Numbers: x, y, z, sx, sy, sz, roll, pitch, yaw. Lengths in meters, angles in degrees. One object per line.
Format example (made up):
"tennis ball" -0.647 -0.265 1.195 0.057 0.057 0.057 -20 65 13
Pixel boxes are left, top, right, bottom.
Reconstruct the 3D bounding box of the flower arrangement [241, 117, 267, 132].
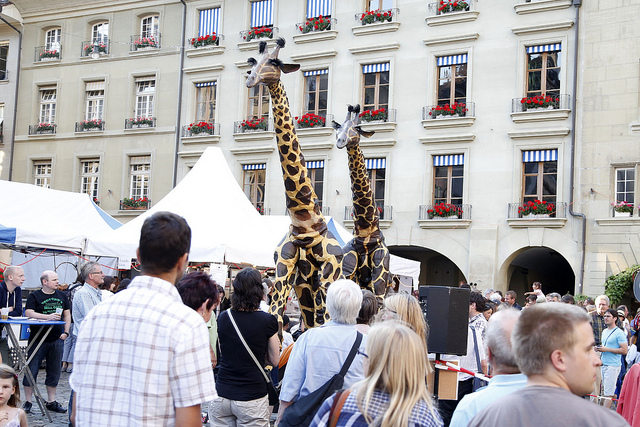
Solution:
"flower arrangement" -2.457 -3.453 39.874 0.787 0.346 0.616 0 22 5

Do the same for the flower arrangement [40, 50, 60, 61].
"flower arrangement" -11.557 -6.744 43.520 0.752 0.428 0.224 -3 -5 19

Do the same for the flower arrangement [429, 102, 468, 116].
"flower arrangement" 4.744 -3.766 36.984 0.934 0.260 0.580 6 -9 -39

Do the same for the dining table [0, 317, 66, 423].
"dining table" -7.129 3.784 25.234 1.397 2.449 3.403 3 -8 -14

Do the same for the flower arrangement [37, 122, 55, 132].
"flower arrangement" -11.576 -3.674 43.103 0.478 0.180 0.399 -1 -2 -39

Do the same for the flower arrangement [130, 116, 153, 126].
"flower arrangement" -7.240 -3.789 41.536 0.998 0.328 0.134 -2 -9 23

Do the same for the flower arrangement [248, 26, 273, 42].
"flower arrangement" -2.281 -7.060 40.210 1.138 0.743 0.333 4 6 8

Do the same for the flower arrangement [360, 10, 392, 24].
"flower arrangement" 2.154 -7.370 38.195 0.632 0.233 0.616 2 -4 -35

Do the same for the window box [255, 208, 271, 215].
"window box" -2.109 -0.102 39.610 0.312 0.180 0.316 -3 -5 39

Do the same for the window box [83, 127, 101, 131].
"window box" -9.484 -3.511 42.375 0.776 0.159 0.134 -3 -9 28

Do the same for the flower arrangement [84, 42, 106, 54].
"flower arrangement" -9.403 -6.959 42.777 0.724 0.314 0.437 -4 -9 2

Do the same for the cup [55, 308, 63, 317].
"cup" -6.274 2.310 24.505 0.150 0.177 0.149 -3 -8 0

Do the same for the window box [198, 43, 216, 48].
"window box" -4.507 -6.725 40.850 0.770 0.178 0.146 -2 -8 20

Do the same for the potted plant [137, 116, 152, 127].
"potted plant" -7.114 -3.748 41.478 0.451 0.386 0.246 1 -7 3

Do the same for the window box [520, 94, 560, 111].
"window box" 7.826 -3.869 35.785 1.316 0.510 0.124 0 -8 11

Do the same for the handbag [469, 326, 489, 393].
"handbag" 3.612 3.221 22.912 0.377 1.429 0.799 0 -8 8

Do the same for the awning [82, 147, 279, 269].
"awning" -5.335 0.505 31.410 5.343 1.811 5.370 -1 -8 24

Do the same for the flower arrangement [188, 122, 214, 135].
"flower arrangement" -4.667 -3.418 40.601 0.728 0.272 0.581 0 -4 -6

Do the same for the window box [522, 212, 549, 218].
"window box" 7.630 0.023 35.499 0.861 0.204 0.141 -2 -8 23

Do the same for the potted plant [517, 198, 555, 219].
"potted plant" 7.648 -0.160 35.566 0.738 0.353 0.835 5 9 38

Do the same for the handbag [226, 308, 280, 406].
"handbag" -1.327 2.989 21.451 1.283 1.997 0.503 7 -10 -37

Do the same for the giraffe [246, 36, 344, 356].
"giraffe" -0.490 -0.493 24.450 2.346 7.246 1.094 7 -10 -33

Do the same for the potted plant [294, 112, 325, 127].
"potted plant" -0.284 -3.536 38.936 0.698 0.301 0.663 1 -4 -19
